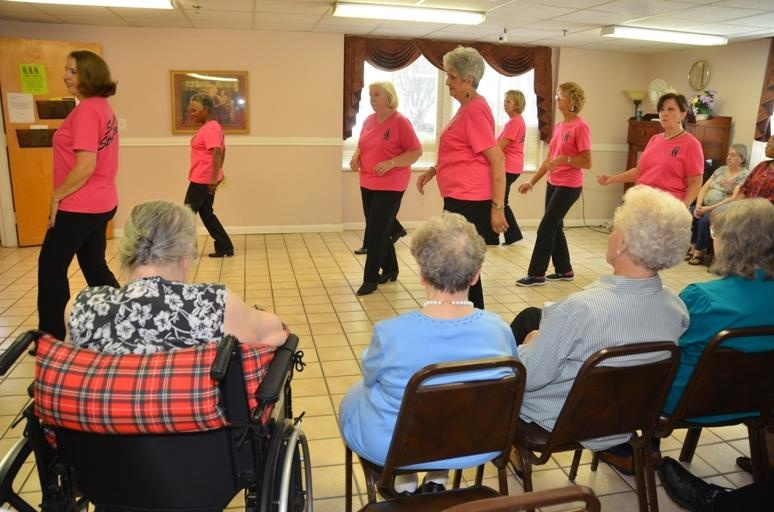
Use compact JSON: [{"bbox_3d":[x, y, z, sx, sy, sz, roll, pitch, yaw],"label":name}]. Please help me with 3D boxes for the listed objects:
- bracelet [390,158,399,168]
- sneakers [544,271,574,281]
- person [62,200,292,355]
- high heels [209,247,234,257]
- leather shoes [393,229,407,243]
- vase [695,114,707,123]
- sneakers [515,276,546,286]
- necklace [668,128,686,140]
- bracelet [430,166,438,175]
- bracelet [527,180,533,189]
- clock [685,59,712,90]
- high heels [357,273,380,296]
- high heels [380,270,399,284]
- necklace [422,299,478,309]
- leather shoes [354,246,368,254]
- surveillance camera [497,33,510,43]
[{"bbox_3d":[0.066,-0.817,4.764,0.048,0.087,0.092,13,20,38],"label":"bracelet"},{"bbox_3d":[1.759,0.190,5.599,0.314,0.121,0.110,1,3,-1],"label":"sneakers"},{"bbox_3d":[-0.834,0.156,2.233,0.874,0.577,0.553,1,6,-1],"label":"person"},{"bbox_3d":[-1.844,-0.044,6.189,0.309,0.127,0.103,0,3,-14],"label":"high heels"},{"bbox_3d":[0.116,-0.243,6.119,0.089,0.099,0.243,-30,-2,33],"label":"leather shoes"},{"bbox_3d":[4.121,-1.813,7.172,0.119,0.085,0.115,-1,3,-3],"label":"vase"},{"bbox_3d":[1.430,0.241,5.425,0.294,0.121,0.104,2,-1,-5],"label":"sneakers"},{"bbox_3d":[2.497,-1.063,4.703,0.161,0.084,0.072,5,16,17],"label":"necklace"},{"bbox_3d":[0.390,-0.713,4.476,0.056,0.085,0.083,-2,4,12],"label":"bracelet"},{"bbox_3d":[1.456,-0.723,5.513,0.107,0.077,0.107,-2,-2,18],"label":"bracelet"},{"bbox_3d":[4.287,-2.501,7.529,0.131,0.424,0.339,-3,16,-10],"label":"clock"},{"bbox_3d":[-0.163,0.277,5.058,0.107,0.133,0.323,4,5,38],"label":"high heels"},{"bbox_3d":[0.022,0.207,5.404,0.237,0.097,0.082,-6,7,-21],"label":"high heels"},{"bbox_3d":[0.243,0.187,2.134,0.190,0.035,0.077,1,15,3],"label":"necklace"},{"bbox_3d":[-0.309,-0.072,6.502,0.190,0.073,0.104,-1,0,-37],"label":"leather shoes"},{"bbox_3d":[1.519,-2.826,7.028,0.159,0.141,0.090,-1,3,-24],"label":"surveillance camera"}]
